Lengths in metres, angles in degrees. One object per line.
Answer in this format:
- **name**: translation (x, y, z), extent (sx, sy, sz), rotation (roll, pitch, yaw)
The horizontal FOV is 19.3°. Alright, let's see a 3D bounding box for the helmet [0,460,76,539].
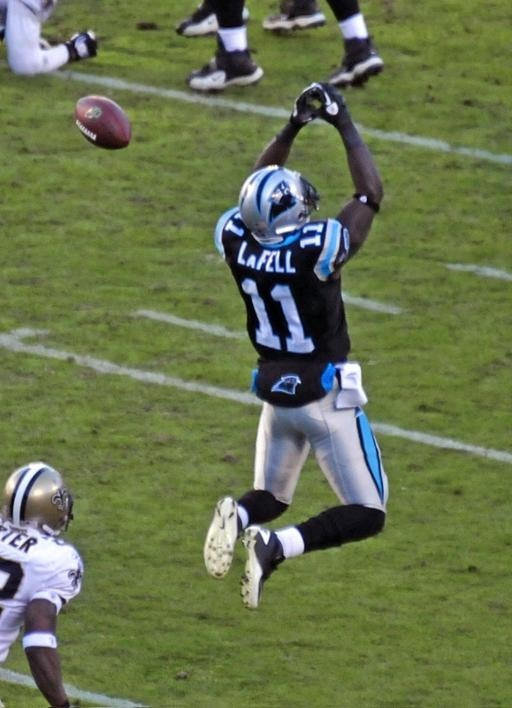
- **helmet**: translation (-0.824, 0.539, 5.800), extent (0.234, 0.249, 0.297), rotation (19, 26, 21)

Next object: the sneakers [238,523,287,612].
- **sneakers**: translation (0.036, 0.808, 5.808), extent (0.170, 0.339, 0.126), rotation (-8, 17, -43)

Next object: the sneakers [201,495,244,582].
- **sneakers**: translation (-0.135, 0.709, 5.839), extent (0.126, 0.315, 0.143), rotation (11, -4, -15)

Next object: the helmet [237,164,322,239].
- **helmet**: translation (0.080, -0.584, 5.891), extent (0.299, 0.291, 0.253), rotation (8, 16, 1)
